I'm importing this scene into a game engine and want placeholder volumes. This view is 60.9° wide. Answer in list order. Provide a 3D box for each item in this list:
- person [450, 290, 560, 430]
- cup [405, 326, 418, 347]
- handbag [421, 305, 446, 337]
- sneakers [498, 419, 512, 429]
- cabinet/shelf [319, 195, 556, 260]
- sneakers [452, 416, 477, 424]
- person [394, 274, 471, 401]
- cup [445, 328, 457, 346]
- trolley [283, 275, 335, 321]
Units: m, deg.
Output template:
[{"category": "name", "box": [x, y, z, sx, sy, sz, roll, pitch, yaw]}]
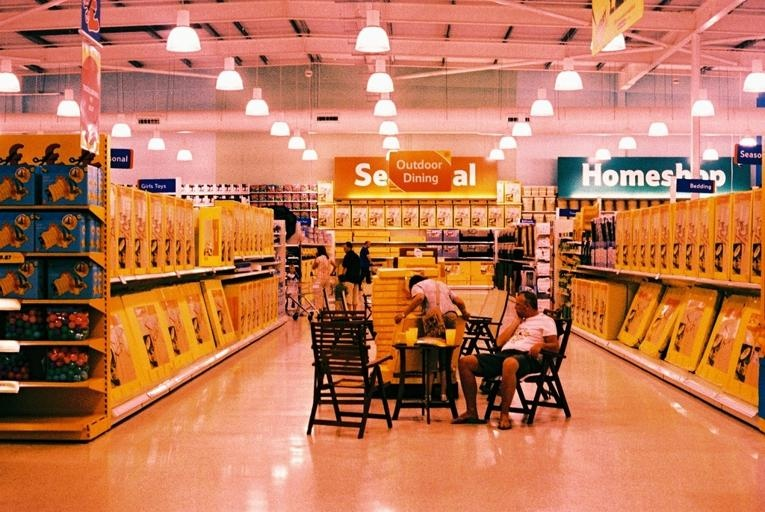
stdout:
[{"category": "person", "box": [1.427, 1.154, 7.227, 0.854, 1.394, 1.143, 5, 8, 39]}, {"category": "cup", "box": [0.333, 0.923, 7.353, 0.137, 0.166, 0.145, -1, -4, 0]}, {"category": "handbag", "box": [0.603, 0.787, 7.660, 0.323, 0.374, 0.129, 2, 5, 34]}, {"category": "sneakers", "box": [1.308, 1.791, 6.984, 0.152, 0.113, 0.220, 1, 7, 10]}, {"category": "cabinet/shelf", "box": [1.667, -0.929, 22.489, 7.623, 2.105, 2.638, 1, 7, 9]}, {"category": "sneakers", "box": [0.907, 1.797, 7.116, 0.254, 0.101, 0.108, 3, -5, 0]}, {"category": "person", "box": [0.665, 0.902, 7.863, 0.774, 1.486, 0.645, 9, -33, -23]}, {"category": "cup", "box": [0.769, 0.918, 7.348, 0.143, 0.178, 0.147, 0, -6, 0]}, {"category": "trolley", "box": [-1.838, 1.107, 16.113, 1.067, 0.868, 0.798, 9, 3, 0]}]
